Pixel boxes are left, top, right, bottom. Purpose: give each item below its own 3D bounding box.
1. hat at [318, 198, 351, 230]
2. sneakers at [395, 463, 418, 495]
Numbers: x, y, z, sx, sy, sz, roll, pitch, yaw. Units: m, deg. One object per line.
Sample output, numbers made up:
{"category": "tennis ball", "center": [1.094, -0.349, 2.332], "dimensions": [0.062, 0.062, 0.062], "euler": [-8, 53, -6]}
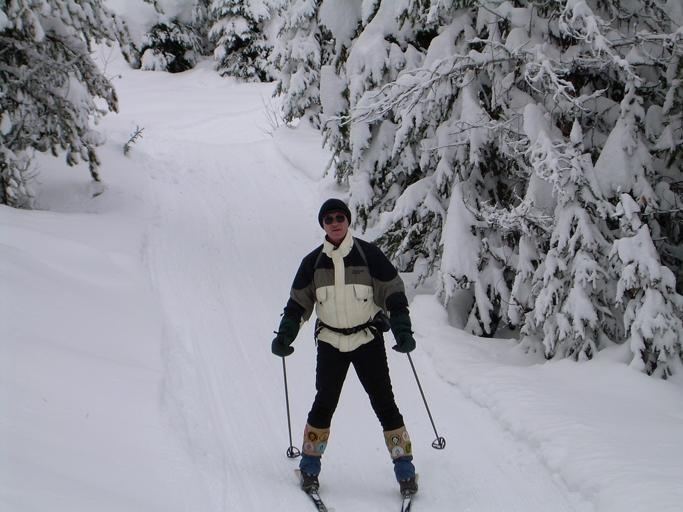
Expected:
{"category": "hat", "center": [-0.062, -0.489, 8.291], "dimensions": [0.236, 0.318, 0.357], "euler": [-6, -2, 2]}
{"category": "sneakers", "center": [0.749, 2.513, 8.027], "dimensions": [0.148, 0.204, 0.446], "euler": [-11, 42, 7]}
